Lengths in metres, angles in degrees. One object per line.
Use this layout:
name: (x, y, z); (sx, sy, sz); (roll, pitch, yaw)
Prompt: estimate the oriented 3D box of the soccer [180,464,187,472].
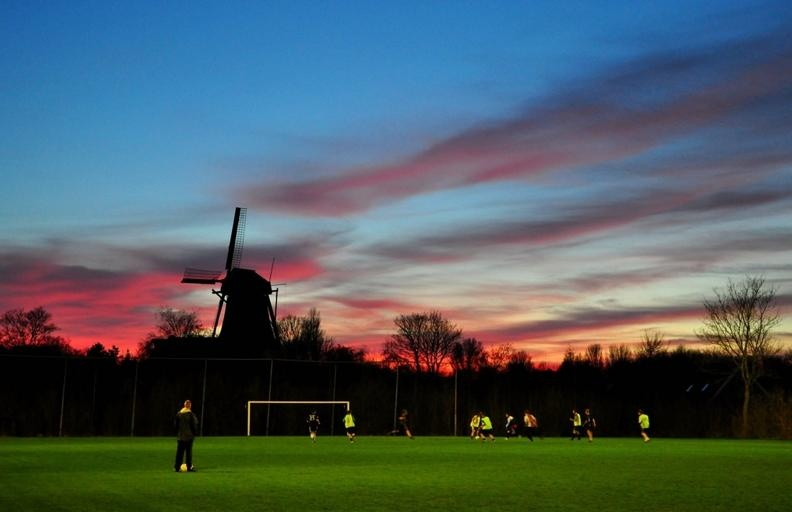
soccer: (-9.538, 9.441, 37.612); (0.286, 0.403, 0.312); (-10, -15, 17)
